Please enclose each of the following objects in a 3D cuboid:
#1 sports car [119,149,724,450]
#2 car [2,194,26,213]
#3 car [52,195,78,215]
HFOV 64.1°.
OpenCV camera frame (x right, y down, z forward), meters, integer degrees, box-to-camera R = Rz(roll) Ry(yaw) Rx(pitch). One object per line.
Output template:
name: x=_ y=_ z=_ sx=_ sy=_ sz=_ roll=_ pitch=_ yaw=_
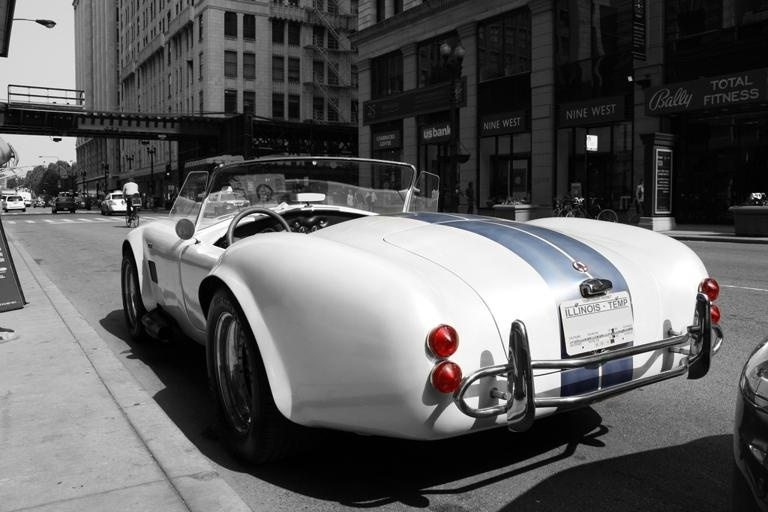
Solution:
sports car: x=-0.442 y=0.191 z=4.608 sx=2.286 sy=1.398 sz=4.042 roll=-3 pitch=11 yaw=-33
car: x=-36.860 y=-5.230 z=61.104 sx=1.678 sy=1.580 sz=5.672 roll=-4 pitch=10 yaw=-33
car: x=-26.453 y=-4.328 z=50.943 sx=2.074 sy=1.444 sz=1.311 roll=6 pitch=9 yaw=31
